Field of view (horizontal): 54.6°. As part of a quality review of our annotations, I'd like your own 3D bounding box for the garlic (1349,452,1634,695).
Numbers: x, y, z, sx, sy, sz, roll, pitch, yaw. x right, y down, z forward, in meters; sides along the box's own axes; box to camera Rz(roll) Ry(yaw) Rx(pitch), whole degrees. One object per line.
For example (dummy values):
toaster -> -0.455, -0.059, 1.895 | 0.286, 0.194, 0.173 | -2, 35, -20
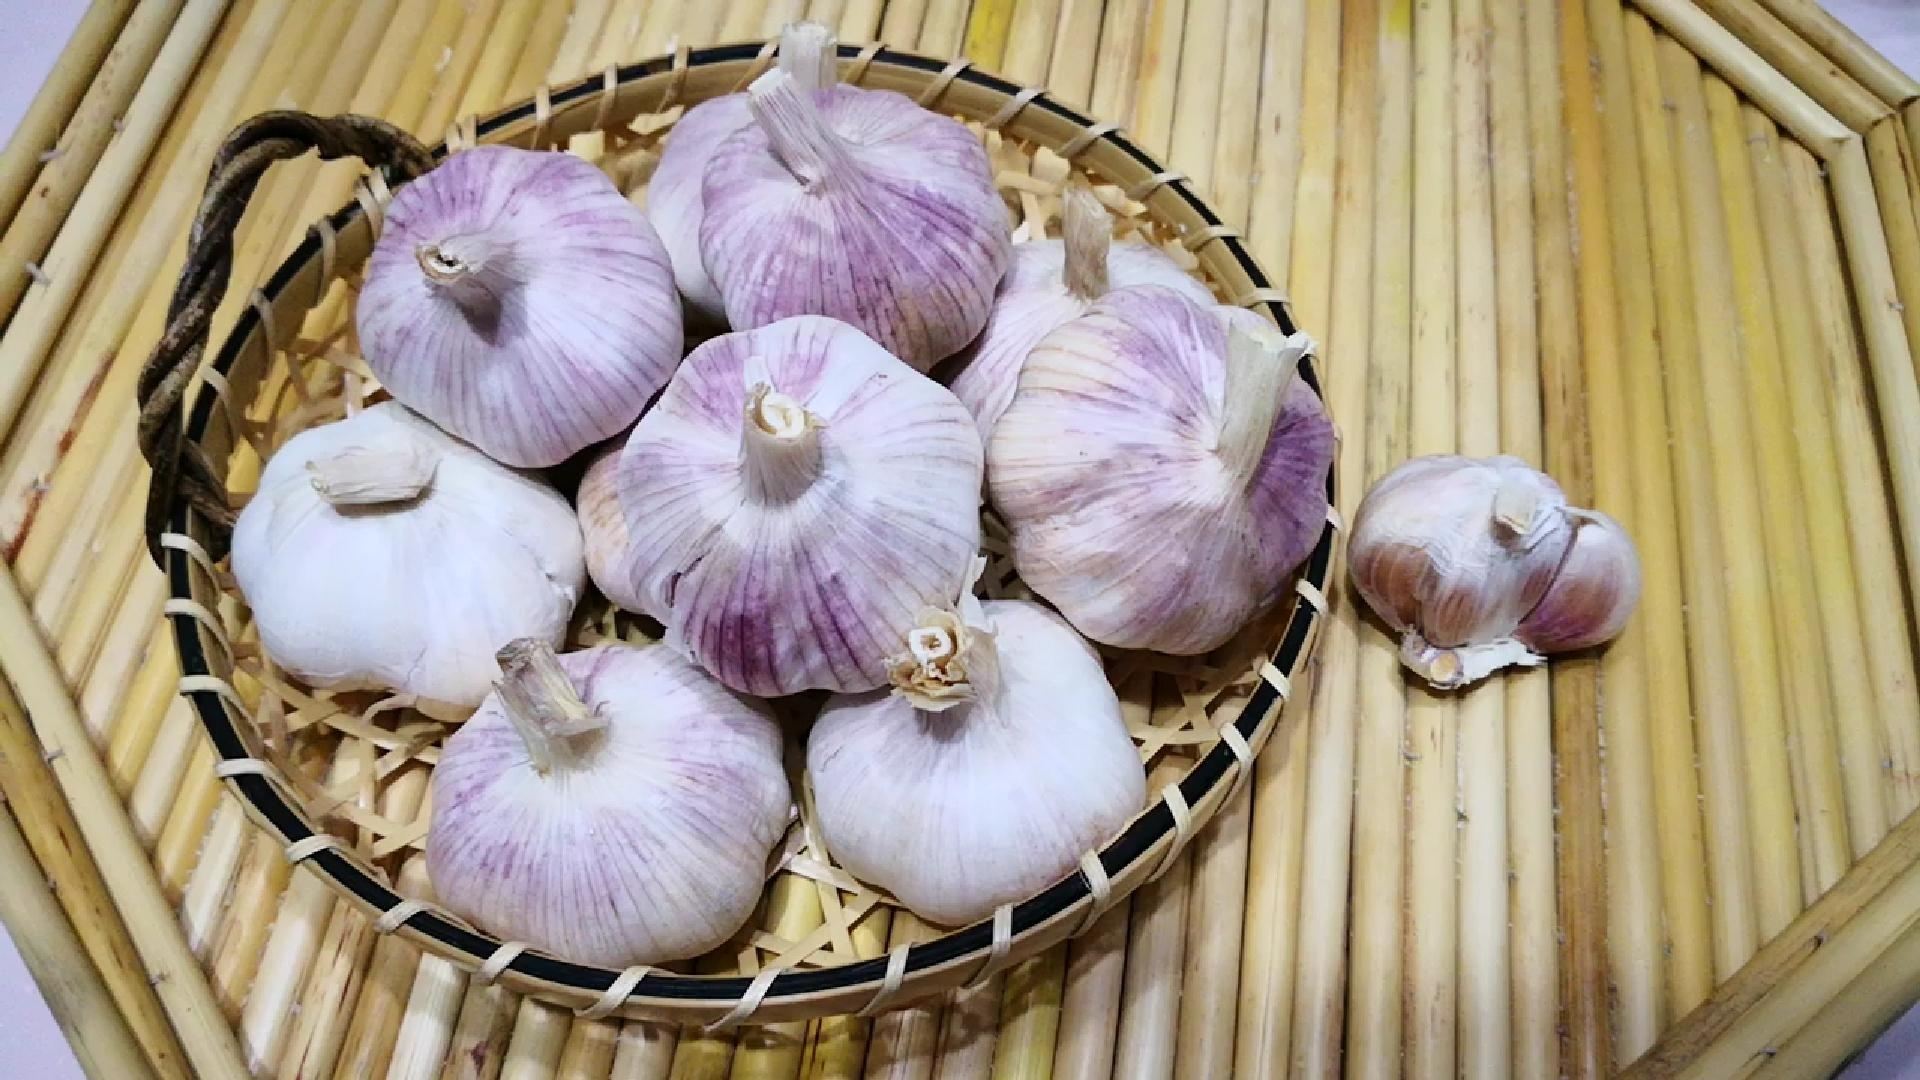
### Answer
garlic -> 0.593, 0.002, 2.104 | 0.325, 0.234, 0.284 | 2, 43, -3
